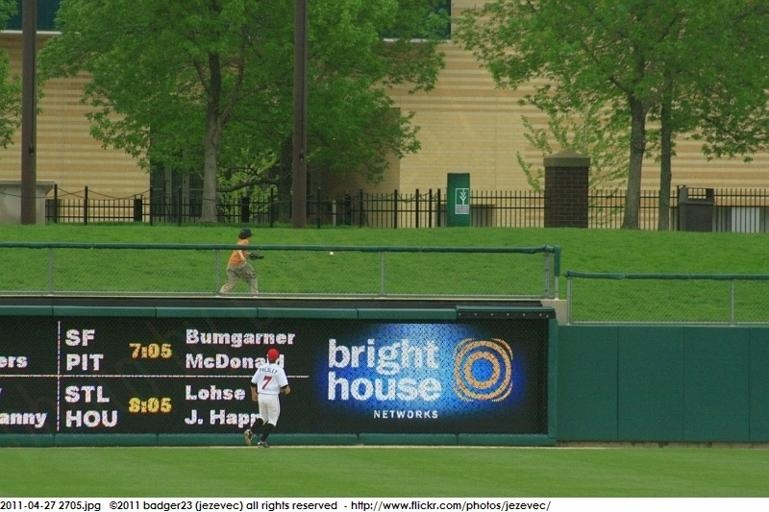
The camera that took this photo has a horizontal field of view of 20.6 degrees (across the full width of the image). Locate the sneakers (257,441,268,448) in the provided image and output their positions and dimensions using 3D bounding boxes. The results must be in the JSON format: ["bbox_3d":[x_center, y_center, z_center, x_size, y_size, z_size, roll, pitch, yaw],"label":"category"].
[{"bbox_3d":[-3.600,5.650,63.574,0.384,0.157,0.126,15,5,-32],"label":"sneakers"}]

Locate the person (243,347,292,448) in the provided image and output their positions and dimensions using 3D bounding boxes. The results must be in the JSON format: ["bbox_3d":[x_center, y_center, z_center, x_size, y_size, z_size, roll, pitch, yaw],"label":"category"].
[{"bbox_3d":[-3.506,4.273,63.331,1.145,2.956,0.458,2,12,-2],"label":"person"}]

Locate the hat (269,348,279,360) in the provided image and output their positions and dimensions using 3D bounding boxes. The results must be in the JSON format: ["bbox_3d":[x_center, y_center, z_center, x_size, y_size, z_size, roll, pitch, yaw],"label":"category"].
[{"bbox_3d":[-3.327,2.938,63.415,0.306,0.356,0.519,3,12,0],"label":"hat"}]
